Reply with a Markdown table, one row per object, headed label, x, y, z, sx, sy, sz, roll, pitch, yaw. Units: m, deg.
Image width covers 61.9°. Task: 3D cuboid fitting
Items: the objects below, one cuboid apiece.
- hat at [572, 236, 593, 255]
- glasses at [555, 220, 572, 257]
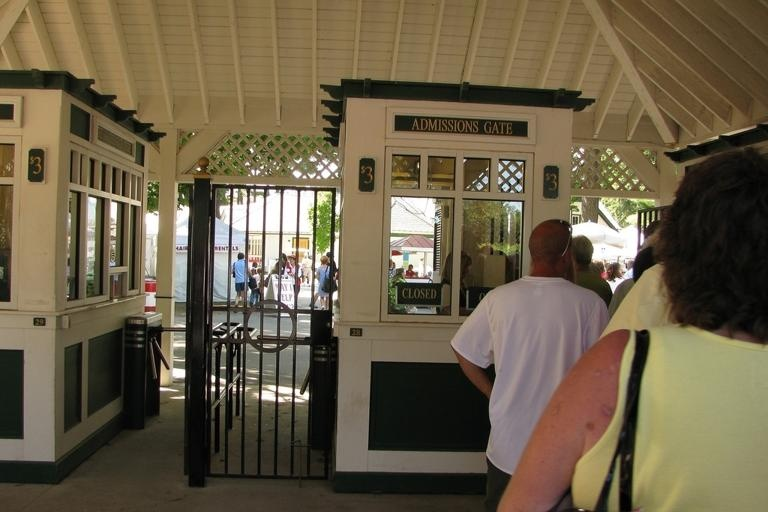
| label | x | y | z | sx | sy | sz | roll | pitch | yaw |
| --- | --- | --- | --- | --- | --- | --- | --- | --- | --- |
| hat | 1.891 | -0.098 | 6.123 | 0.174 | 0.221 | 0.222 | 4 | 14 | 6 |
| glasses | 1.287 | -0.135 | 4.504 | 0.057 | 0.213 | 0.202 | 7 | 0 | -8 |
